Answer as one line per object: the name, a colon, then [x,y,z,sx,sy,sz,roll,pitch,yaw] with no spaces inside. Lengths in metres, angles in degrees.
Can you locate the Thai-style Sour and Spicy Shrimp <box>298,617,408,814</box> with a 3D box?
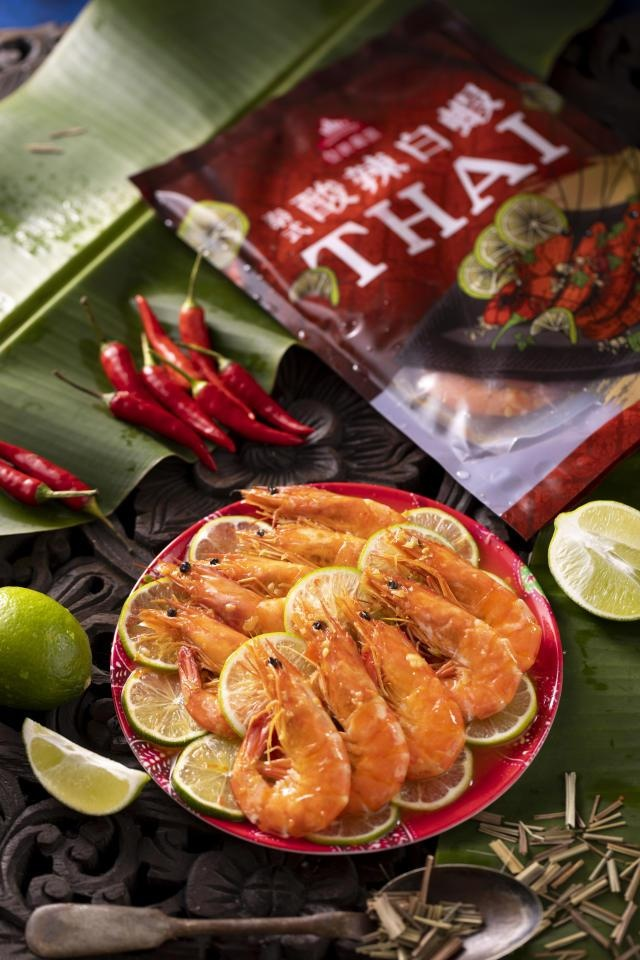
Thai-style Sour and Spicy Shrimp: [0.043,0.450,1.684,0.258,0.090,0.392,-23,63,21]

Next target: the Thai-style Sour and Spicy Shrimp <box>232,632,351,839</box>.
Thai-style Sour and Spicy Shrimp: [-0.055,0.477,1.588,0.216,0.084,0.329,-3,62,8]

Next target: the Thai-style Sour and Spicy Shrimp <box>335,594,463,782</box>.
Thai-style Sour and Spicy Shrimp: [0.170,0.416,1.734,0.197,0.069,0.332,-15,49,-13]

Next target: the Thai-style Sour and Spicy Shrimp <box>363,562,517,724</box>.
Thai-style Sour and Spicy Shrimp: [0.247,0.346,1.780,0.416,0.157,0.178,-4,24,-15]
